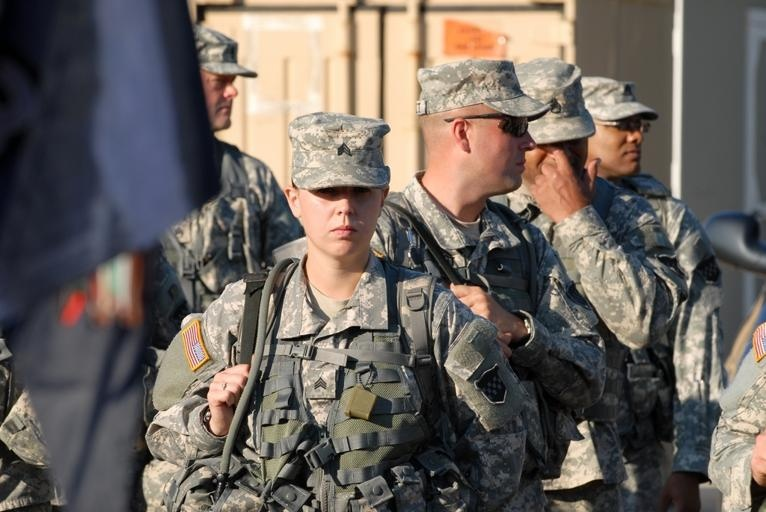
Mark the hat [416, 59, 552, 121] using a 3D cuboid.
[{"bbox_3d":[0.460,-0.843,9.408,0.505,0.254,0.328,-4,2,18],"label":"hat"}]

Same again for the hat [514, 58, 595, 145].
[{"bbox_3d":[0.912,-0.841,9.935,0.429,0.282,0.431,-2,25,4],"label":"hat"}]

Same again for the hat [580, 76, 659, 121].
[{"bbox_3d":[1.350,-0.955,10.843,0.262,0.154,0.391,3,15,-34],"label":"hat"}]

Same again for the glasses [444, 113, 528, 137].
[{"bbox_3d":[0.581,-0.671,9.336,0.227,0.066,0.179,7,-4,-10],"label":"glasses"}]
